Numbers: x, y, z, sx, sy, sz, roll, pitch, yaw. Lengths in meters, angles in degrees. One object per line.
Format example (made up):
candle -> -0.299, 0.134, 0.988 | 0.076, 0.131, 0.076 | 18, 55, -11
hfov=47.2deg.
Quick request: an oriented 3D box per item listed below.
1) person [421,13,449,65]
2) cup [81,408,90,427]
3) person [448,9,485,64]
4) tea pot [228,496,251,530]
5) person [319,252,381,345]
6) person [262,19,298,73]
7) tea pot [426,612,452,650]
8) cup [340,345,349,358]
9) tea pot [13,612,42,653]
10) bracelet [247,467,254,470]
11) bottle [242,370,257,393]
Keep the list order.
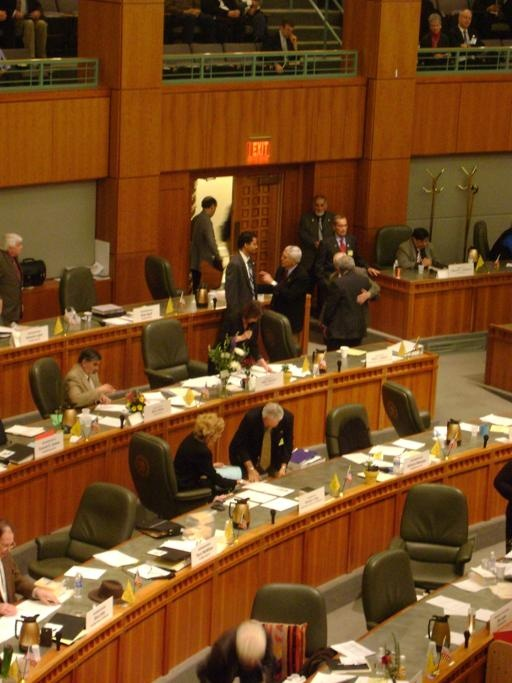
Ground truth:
person -> 3.699, -6.212, 12.062 | 0.551, 1.057, 0.896 | 4, 11, 15
cup -> -1.584, 0.702, 5.432 | 0.087, 0.155, 0.128 | 0, 4, 14
person -> 4.539, -6.482, 12.691 | 0.651, 1.289, 2.080 | 5, 11, 19
tea pot -> -0.117, 1.265, 4.312 | 0.146, 0.198, 0.157 | 1, 10, 0
person -> 1.555, -1.121, 10.245 | 0.969, 2.091, 0.576 | 0, 33, 6
person -> 0.457, -5.464, 10.960 | 0.613, 0.984, 0.974 | 1, 10, 0
tea pot -> 1.035, 1.641, 3.307 | 0.162, 0.226, 0.133 | 1, -9, -2
cup -> 1.174, 0.133, 7.771 | 0.120, 0.132, 0.119 | 0, 0, 0
tea pot -> -1.065, 1.355, 2.774 | 0.138, 0.170, 0.121 | -2, 5, -16
bracelet -> -0.035, 1.198, 5.513 | 0.038, 0.021, 0.026 | 8, 12, 20
bottle -> -0.077, 0.462, 6.664 | 0.086, 0.230, 0.235 | 3, 6, 31
